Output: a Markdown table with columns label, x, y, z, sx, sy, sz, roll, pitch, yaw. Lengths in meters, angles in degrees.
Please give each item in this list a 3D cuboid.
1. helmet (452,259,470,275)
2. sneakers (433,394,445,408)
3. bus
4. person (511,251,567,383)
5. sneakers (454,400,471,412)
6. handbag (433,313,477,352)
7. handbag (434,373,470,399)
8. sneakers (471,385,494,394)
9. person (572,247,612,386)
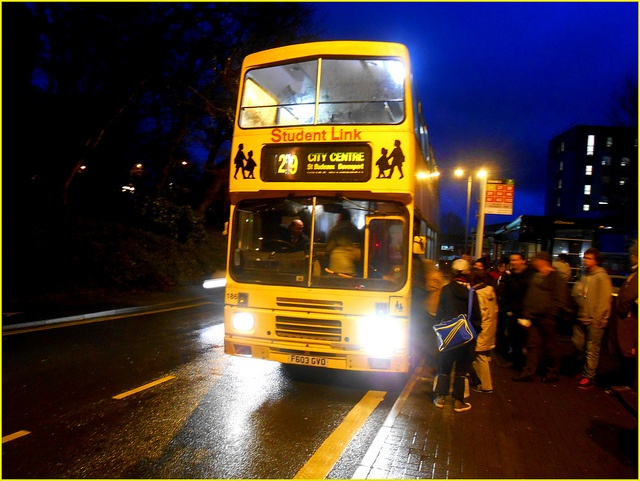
| label | x | y | z | sx | sy | sz | roll | pitch | yaw |
| --- | --- | --- | --- | --- | --- | --- | --- | --- | --- |
| helmet | 2.454 | 0.479 | 7.361 | 0.207 | 0.285 | 0.293 | -17 | -45 | 37 |
| sneakers | 1.960 | 2.651 | 7.022 | 0.165 | 0.183 | 0.482 | -2 | -13 | 15 |
| bus | 0.062 | -0.776 | 7.390 | 3.236 | 5.589 | 1.575 | 3 | 8 | 14 |
| person | 4.141 | 1.458 | 7.996 | 0.855 | 2.464 | 0.477 | 3 | 8 | 13 |
| sneakers | 2.272 | 2.667 | 6.882 | 0.330 | 0.193 | 0.126 | -2 | 4 | -23 |
| handbag | 2.154 | 1.525 | 6.806 | 0.603 | 0.571 | 0.432 | -18 | -45 | 29 |
| handbag | 2.188 | 2.437 | 7.114 | 0.538 | 0.336 | 0.538 | 0 | 1 | 16 |
| sneakers | 2.886 | 2.670 | 7.608 | 0.130 | 0.129 | 0.334 | 3 | -8 | -34 |
| person | 5.099 | 1.435 | 8.014 | 0.500 | 2.550 | 0.633 | 2 | 8 | 0 |
